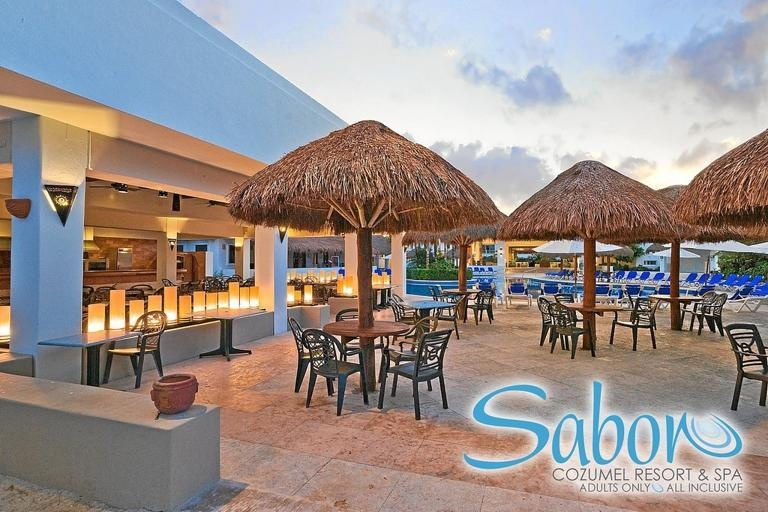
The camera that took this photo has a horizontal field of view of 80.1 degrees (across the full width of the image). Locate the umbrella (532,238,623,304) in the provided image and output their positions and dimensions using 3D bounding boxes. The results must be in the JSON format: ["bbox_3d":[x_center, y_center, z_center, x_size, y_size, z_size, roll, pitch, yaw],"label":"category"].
[{"bbox_3d":[7.858,0.112,17.728,3.225,2.209,3.198,0,20,3],"label":"umbrella"}]

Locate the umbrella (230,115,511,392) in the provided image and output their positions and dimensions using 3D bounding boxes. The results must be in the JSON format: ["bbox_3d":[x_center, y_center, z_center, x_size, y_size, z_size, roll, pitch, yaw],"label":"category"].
[{"bbox_3d":[-0.223,-0.637,7.951,4.380,3.307,2.939,2,9,13],"label":"umbrella"}]

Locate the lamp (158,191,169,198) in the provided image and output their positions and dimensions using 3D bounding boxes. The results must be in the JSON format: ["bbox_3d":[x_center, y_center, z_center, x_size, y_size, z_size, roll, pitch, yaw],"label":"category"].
[{"bbox_3d":[-6.534,-1.804,13.601,0.197,0.254,2.357,-5,10,-26],"label":"lamp"}]

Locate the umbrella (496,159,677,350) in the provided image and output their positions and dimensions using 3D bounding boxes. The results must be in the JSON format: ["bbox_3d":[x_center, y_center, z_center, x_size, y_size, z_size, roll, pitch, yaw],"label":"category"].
[{"bbox_3d":[5.087,-0.517,11.301,4.092,3.995,4.133,4,2,25],"label":"umbrella"}]

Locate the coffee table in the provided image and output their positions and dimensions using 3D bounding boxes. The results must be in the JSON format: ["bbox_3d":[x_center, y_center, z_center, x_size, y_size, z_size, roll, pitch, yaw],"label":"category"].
[{"bbox_3d":[-4.669,1.685,7.443,0.841,0.868,1.106,4,10,24],"label":"coffee table"}]

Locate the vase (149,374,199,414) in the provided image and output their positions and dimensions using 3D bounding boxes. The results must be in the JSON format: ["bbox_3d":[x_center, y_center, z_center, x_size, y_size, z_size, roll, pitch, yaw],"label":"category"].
[{"bbox_3d":[-2.382,1.587,5.249,0.482,0.366,0.533,0,0,40],"label":"vase"}]

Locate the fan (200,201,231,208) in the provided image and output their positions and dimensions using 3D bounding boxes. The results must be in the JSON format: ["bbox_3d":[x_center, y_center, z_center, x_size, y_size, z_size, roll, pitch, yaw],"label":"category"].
[{"bbox_3d":[-5.810,-1.819,15.826,0.618,0.244,1.050,-4,9,-21],"label":"fan"}]

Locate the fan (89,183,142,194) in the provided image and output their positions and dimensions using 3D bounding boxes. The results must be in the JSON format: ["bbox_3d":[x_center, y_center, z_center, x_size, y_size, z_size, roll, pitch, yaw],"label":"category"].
[{"bbox_3d":[-7.301,-1.869,12.522,1.393,0.340,2.588,-5,10,-28],"label":"fan"}]
